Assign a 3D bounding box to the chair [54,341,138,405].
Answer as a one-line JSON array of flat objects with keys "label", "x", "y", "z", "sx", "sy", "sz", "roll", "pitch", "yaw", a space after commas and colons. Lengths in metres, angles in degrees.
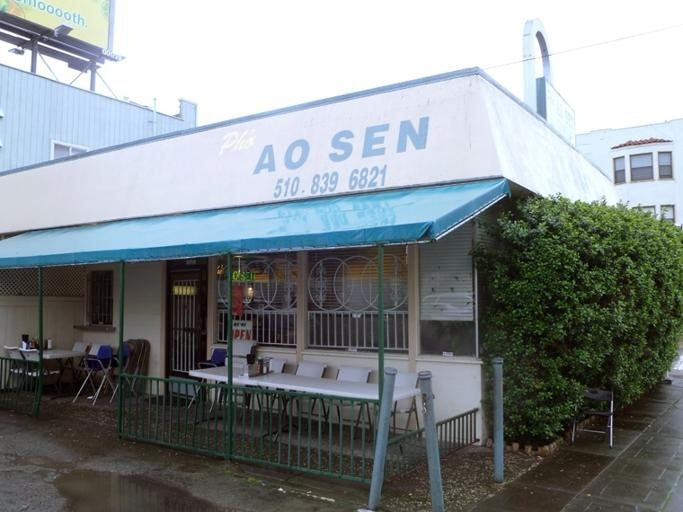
[{"label": "chair", "x": -5.493, "y": 2.714, "z": 14.262, "sx": 1.120, "sy": 2.099, "sz": 1.421, "roll": -5, "pitch": -11, "yaw": 28}]
